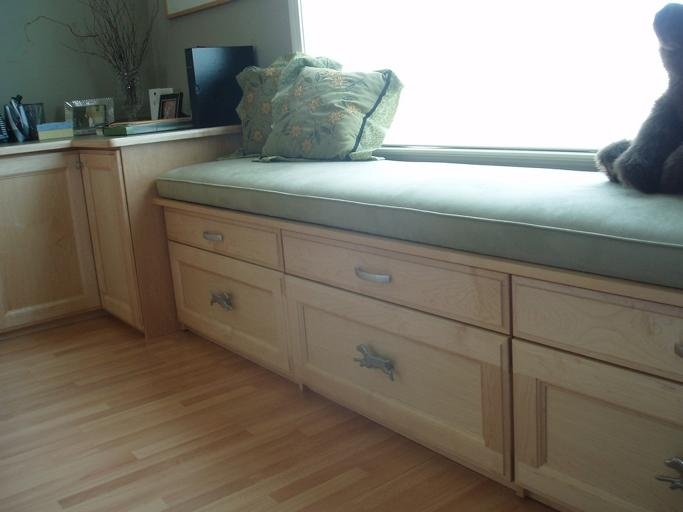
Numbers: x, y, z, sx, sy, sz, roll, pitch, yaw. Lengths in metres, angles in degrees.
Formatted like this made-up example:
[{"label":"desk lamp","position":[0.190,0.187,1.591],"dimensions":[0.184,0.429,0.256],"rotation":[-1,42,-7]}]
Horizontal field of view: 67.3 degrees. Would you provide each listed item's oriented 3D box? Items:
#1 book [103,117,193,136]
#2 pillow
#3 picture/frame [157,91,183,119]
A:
[{"label":"book","position":[-0.927,-0.631,2.498],"dimensions":[0.307,0.042,0.176],"rotation":[-17,23,-41]},{"label":"pillow","position":[-0.024,-0.596,2.260],"dimensions":[0.823,0.514,0.263],"rotation":[11,-4,33]},{"label":"picture/frame","position":[-1.031,-0.901,3.070],"dimensions":[0.160,0.150,0.207],"rotation":[-6,24,-16]}]
